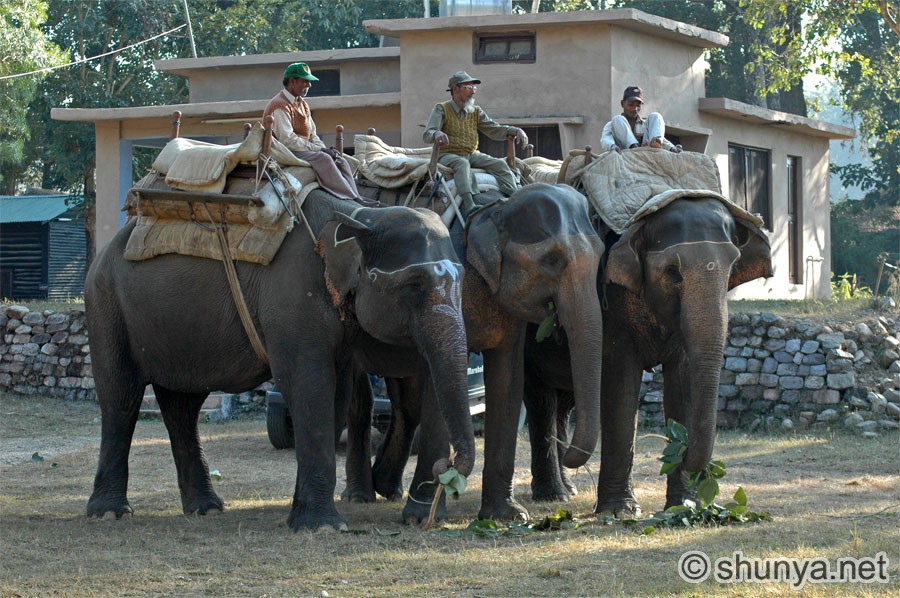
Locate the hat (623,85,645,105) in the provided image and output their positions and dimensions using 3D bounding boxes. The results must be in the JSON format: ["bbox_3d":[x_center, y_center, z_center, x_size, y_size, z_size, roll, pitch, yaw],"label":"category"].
[{"bbox_3d":[2.886,-3.222,26.437,0.287,0.237,0.442,5,-4,-5],"label":"hat"}]

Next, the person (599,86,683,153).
[{"bbox_3d":[2.898,-2.813,26.243,1.011,0.940,1.172,0,2,-20],"label":"person"}]

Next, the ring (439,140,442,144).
[{"bbox_3d":[-0.151,-2.299,24.822,0.049,0.051,0.012,11,-2,5],"label":"ring"}]
